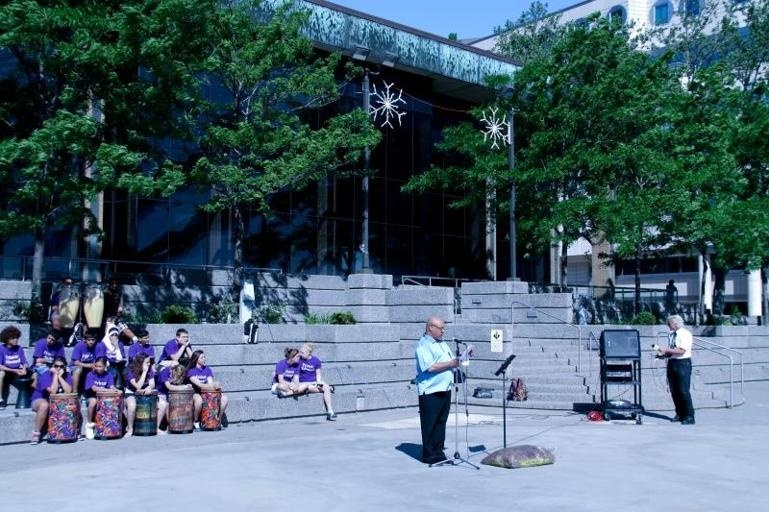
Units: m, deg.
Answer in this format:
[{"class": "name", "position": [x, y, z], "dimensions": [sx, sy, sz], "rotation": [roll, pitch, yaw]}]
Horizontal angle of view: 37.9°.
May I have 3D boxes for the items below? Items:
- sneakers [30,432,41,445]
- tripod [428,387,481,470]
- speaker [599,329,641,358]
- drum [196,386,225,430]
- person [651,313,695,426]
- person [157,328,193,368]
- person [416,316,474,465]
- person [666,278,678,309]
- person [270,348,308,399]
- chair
[{"class": "sneakers", "position": [-9.470, 4.972, 30.235], "dimensions": [0.224, 0.343, 0.226], "rotation": [0, -4, -10]}, {"class": "tripod", "position": [1.850, 4.789, 30.116], "dimensions": [1.170, 1.949, 1.256], "rotation": [15, -26, -21]}, {"class": "speaker", "position": [7.024, 2.417, 33.487], "dimensions": [1.324, 1.126, 0.793], "rotation": [1, -3, 3]}, {"class": "drum", "position": [-4.974, 4.489, 32.270], "dimensions": [0.778, 1.249, 0.881], "rotation": [-5, -6, 32]}, {"class": "person", "position": [8.702, 3.410, 33.208], "dimensions": [0.939, 3.245, 1.032], "rotation": [-1, -4, 6]}, {"class": "person", "position": [-6.215, 2.713, 32.567], "dimensions": [1.055, 1.641, 0.969], "rotation": [2, 1, -7]}, {"class": "person", "position": [1.252, 3.472, 28.315], "dimensions": [0.869, 3.723, 0.644], "rotation": [-1, -4, 1]}, {"class": "person", "position": [13.716, 1.893, 53.419], "dimensions": [0.495, 1.502, 1.277], "rotation": [-1, -4, 14]}, {"class": "person", "position": [-2.941, 3.590, 34.007], "dimensions": [0.943, 1.516, 0.438], "rotation": [0, -4, -4]}, {"class": "chair", "position": [7.089, 3.646, 33.579], "dimensions": [1.607, 2.693, 1.591], "rotation": [0, -1, -28]}]
